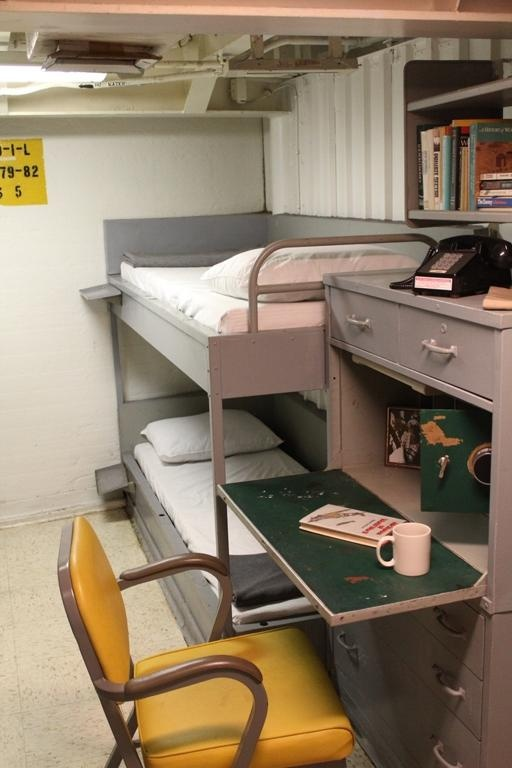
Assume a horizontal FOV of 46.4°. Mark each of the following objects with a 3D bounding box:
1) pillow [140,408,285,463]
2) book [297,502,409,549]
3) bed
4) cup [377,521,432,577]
[{"bbox_3d":[-0.306,0.326,3.668,0.487,0.141,0.415,-4,9,-16],"label":"pillow"},{"bbox_3d":[0.234,0.345,1.467,0.110,0.016,0.152,-11,14,-42],"label":"book"},{"bbox_3d":[-0.103,0.101,2.960,1.098,1.900,1.978,-8,18,-22],"label":"bed"},{"bbox_3d":[0.301,0.352,1.234,0.101,0.080,0.064,-1,-7,6],"label":"cup"}]
